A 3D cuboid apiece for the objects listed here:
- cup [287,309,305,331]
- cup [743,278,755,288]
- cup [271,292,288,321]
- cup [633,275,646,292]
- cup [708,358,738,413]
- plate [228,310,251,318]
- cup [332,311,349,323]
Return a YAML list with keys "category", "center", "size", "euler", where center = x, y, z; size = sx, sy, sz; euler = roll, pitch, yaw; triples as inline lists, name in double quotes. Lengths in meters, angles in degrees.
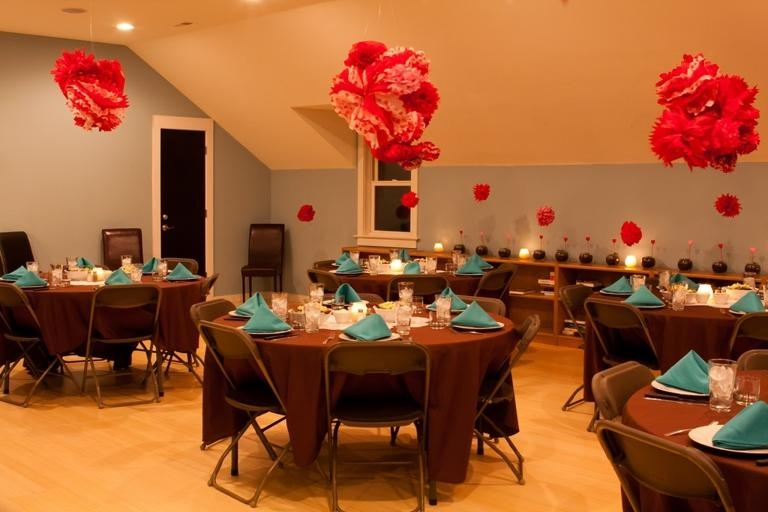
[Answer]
- category: "cup"
  center: [-0.536, 0.392, 3.536]
  size: [0.134, 0.125, 0.119]
  euler: [-4, 8, -39]
- category: "cup"
  center: [3.165, 0.224, 4.825]
  size: [0.094, 0.086, 0.093]
  euler: [0, 1, 0]
- category: "cup"
  center: [-0.682, 0.332, 3.661]
  size: [0.094, 0.190, 0.184]
  euler: [-2, 9, -12]
- category: "cup"
  center: [2.169, 0.226, 4.736]
  size: [0.129, 0.154, 0.156]
  euler: [0, 1, 4]
- category: "cup"
  center: [1.533, 0.582, 2.490]
  size: [0.143, 0.218, 0.142]
  euler: [10, -10, 2]
- category: "plate"
  center: [-0.962, 0.379, 3.713]
  size: [0.196, 0.048, 0.038]
  euler: [6, 11, 32]
- category: "cup"
  center: [-0.275, 0.376, 3.602]
  size: [0.087, 0.051, 0.085]
  euler: [-1, 8, 0]
